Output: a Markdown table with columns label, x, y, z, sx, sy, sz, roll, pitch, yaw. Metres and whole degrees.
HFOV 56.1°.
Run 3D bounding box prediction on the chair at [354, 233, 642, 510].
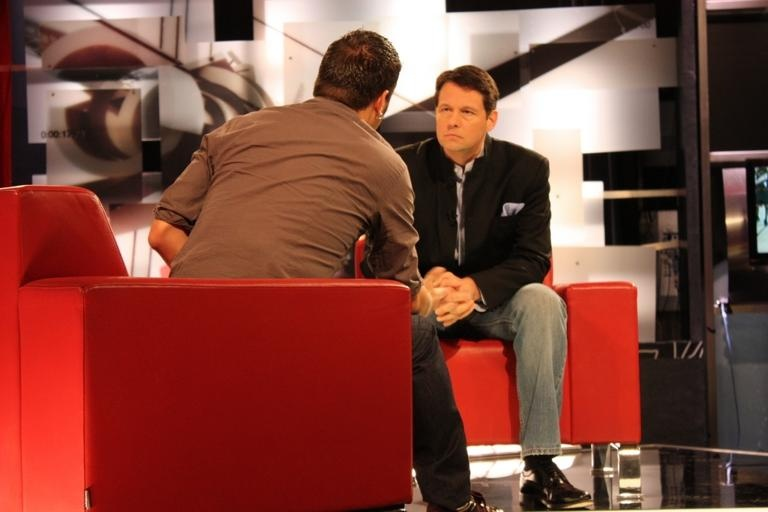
| label | x | y | z | sx | sy | sz | roll | pitch | yaw |
| --- | --- | --- | --- | --- | --- | --- | --- | --- | --- |
| chair | 0.457 | 0.506 | 3.265 | 1.038 | 1.036 | 1.041 | 0 | -10 | 1 |

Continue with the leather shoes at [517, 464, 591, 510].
| label | x | y | z | sx | sy | sz | roll | pitch | yaw |
| --- | --- | --- | --- | --- | --- | --- | --- | --- | --- |
| leather shoes | 0.633 | 0.873 | 2.795 | 0.126 | 0.154 | 0.299 | 2 | -6 | -35 |
